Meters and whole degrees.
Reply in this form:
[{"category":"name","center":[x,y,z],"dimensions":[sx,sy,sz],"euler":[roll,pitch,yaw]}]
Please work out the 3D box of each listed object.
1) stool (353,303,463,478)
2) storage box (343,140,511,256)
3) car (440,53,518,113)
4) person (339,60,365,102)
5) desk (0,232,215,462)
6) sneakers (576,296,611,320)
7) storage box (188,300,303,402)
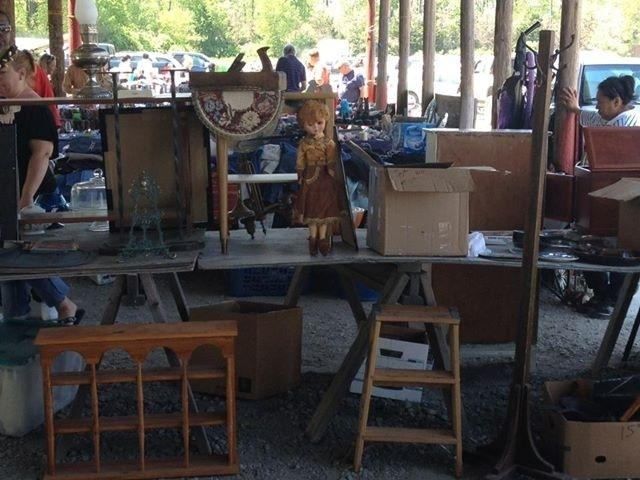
[{"category":"stool","center":[0.494,0.879,3.309],"dimensions":[0.775,1.115,0.553],"euler":[2,9,2]},{"category":"storage box","center":[0.534,-0.197,3.276],"dimensions":[0.689,0.473,0.513],"euler":[-1,6,-4]},{"category":"car","center":[4.287,-4.603,16.666],"dimensions":[1.228,1.463,3.328],"euler":[5,15,12]},{"category":"person","center":[0.554,-3.175,11.777],"dimensions":[0.723,0.809,0.453],"euler":[17,36,35]},{"category":"desk","center":[-1.070,0.547,3.520],"dimensions":[1.169,1.121,1.185],"euler":[0,1,-5]},{"category":"sneakers","center":[2.436,0.613,5.153],"dimensions":[0.238,0.117,0.164],"euler":[0,4,15]},{"category":"storage box","center":[-0.517,0.681,3.927],"dimensions":[0.619,0.575,0.634],"euler":[-2,4,-31]}]
